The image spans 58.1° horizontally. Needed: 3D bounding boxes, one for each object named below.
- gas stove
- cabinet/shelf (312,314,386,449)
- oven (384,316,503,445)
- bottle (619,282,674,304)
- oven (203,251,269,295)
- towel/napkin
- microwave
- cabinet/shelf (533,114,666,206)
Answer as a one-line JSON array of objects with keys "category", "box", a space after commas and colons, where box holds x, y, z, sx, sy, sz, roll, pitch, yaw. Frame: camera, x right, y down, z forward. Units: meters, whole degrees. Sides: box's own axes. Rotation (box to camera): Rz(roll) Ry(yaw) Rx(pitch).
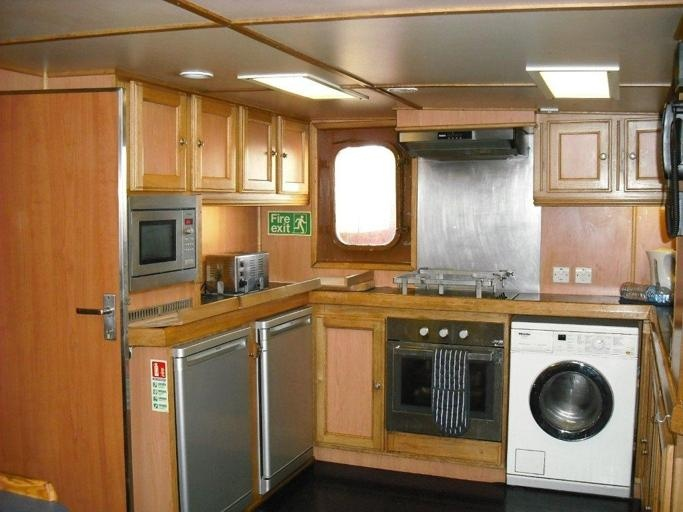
[{"category": "gas stove", "box": [0.866, 0.196, 4.769, 0.837, 0.199, 0.616, 0, 5, 17]}, {"category": "cabinet/shelf", "box": [0.183, 0.976, 5.028, 0.675, 1.059, 0.762, 0, -2, 14]}, {"category": "oven", "box": [0.827, 0.890, 4.674, 0.876, 0.812, 0.566, 0, -4, 27]}, {"category": "bottle", "box": [2.189, 0.267, 4.520, 0.120, 0.127, 0.383, 16, -3, -22]}, {"category": "oven", "box": [-0.797, 0.061, 4.494, 0.292, 0.282, 0.452, 1, 3, 25]}, {"category": "towel/napkin", "box": [0.773, 0.974, 4.422, 0.248, 0.638, 0.095, 0, 4, 19]}, {"category": "microwave", "box": [-1.069, -0.096, 3.614, 0.332, 0.499, 0.600, 0, 1, 18]}, {"category": "cabinet/shelf", "box": [1.990, -0.698, 4.782, 1.034, 0.704, 0.513, 1, -3, 7]}]
